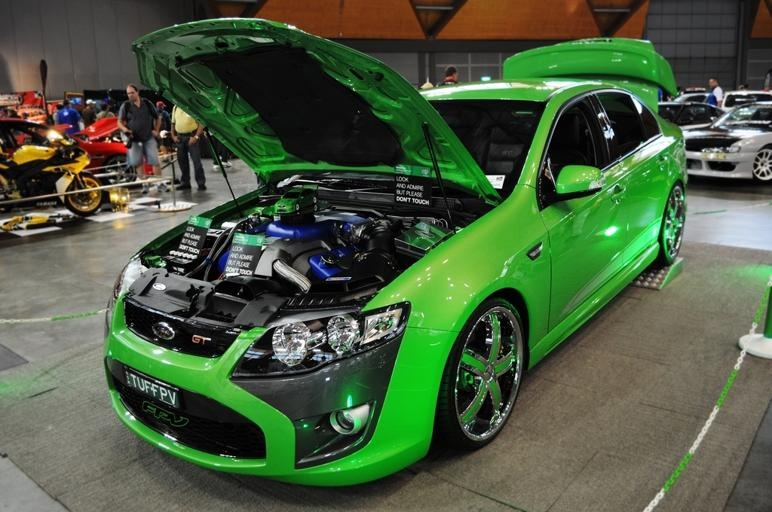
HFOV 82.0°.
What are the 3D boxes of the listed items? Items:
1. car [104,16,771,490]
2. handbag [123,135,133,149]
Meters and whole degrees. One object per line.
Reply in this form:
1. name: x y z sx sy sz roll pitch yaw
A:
1. car: 0.457 -0.290 3.426 4.311 1.698 2.518 -16 20 -39
2. handbag: -5.603 -2.485 9.717 0.181 0.222 0.086 18 19 20
